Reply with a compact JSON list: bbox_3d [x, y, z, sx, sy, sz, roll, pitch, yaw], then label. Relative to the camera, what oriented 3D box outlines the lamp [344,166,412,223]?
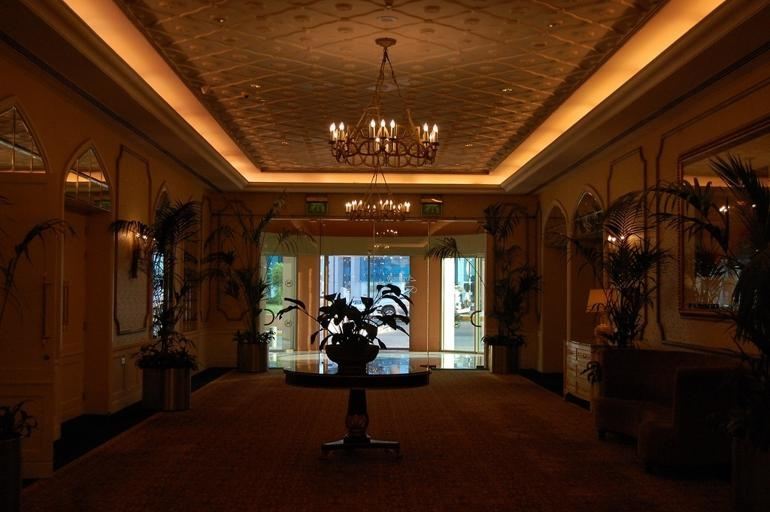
[{"bbox_3d":[-0.098,-1.115,10.935,1.420,1.479,1.408,2,-2,17],"label":"lamp"}]

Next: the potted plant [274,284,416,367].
[{"bbox_3d":[-0.481,0.895,6.057,1.710,0.858,1.267,-1,2,-6],"label":"potted plant"}]

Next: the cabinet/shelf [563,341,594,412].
[{"bbox_3d":[3.146,1.947,8.132,0.431,0.950,1.033,3,-5,4],"label":"cabinet/shelf"}]

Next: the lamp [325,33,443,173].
[{"bbox_3d":[-0.029,-2.124,7.068,1.618,1.641,1.543,-2,10,-17],"label":"lamp"}]

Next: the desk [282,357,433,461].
[{"bbox_3d":[-0.305,1.767,5.874,1.606,1.011,1.285,0,-3,1],"label":"desk"}]
